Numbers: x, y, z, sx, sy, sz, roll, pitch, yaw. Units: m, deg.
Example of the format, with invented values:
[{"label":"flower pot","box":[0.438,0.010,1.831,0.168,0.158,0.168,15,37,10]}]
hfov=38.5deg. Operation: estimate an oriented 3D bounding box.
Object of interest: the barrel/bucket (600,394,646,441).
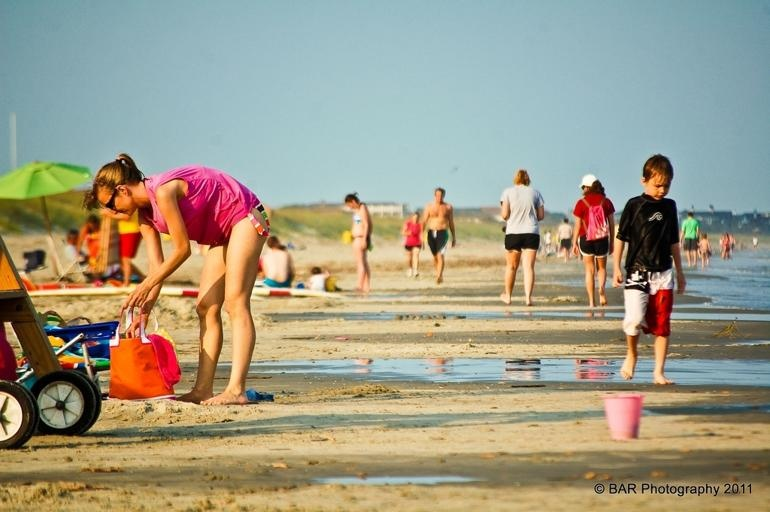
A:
[{"label":"barrel/bucket","box":[1.718,1.157,7.857,0.290,0.273,0.290,-1,-5,0]}]

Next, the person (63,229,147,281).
[{"label":"person","box":[-5.555,-0.097,21.378,1.271,1.203,1.104,-4,-5,20]}]

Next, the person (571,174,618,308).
[{"label":"person","box":[3.232,-0.231,17.011,0.643,2.055,0.551,1,3,19]}]

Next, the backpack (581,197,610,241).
[{"label":"backpack","box":[3.211,-0.548,16.796,0.344,0.650,0.360,-7,2,2]}]

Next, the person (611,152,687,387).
[{"label":"person","box":[2.401,0.102,10.007,0.627,2.011,0.697,1,4,13]}]

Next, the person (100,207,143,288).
[{"label":"person","box":[-4.914,-0.348,20.459,0.683,1.850,0.906,5,8,26]}]

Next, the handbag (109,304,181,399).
[{"label":"handbag","box":[-2.060,0.862,9.015,0.490,0.860,0.652,-2,-18,-29]}]

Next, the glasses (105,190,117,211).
[{"label":"glasses","box":[-2.144,-0.430,8.670,0.038,0.130,0.124,-9,-11,-26]}]

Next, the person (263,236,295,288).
[{"label":"person","box":[-2.062,0.114,20.743,0.639,0.956,0.724,-1,9,10]}]
